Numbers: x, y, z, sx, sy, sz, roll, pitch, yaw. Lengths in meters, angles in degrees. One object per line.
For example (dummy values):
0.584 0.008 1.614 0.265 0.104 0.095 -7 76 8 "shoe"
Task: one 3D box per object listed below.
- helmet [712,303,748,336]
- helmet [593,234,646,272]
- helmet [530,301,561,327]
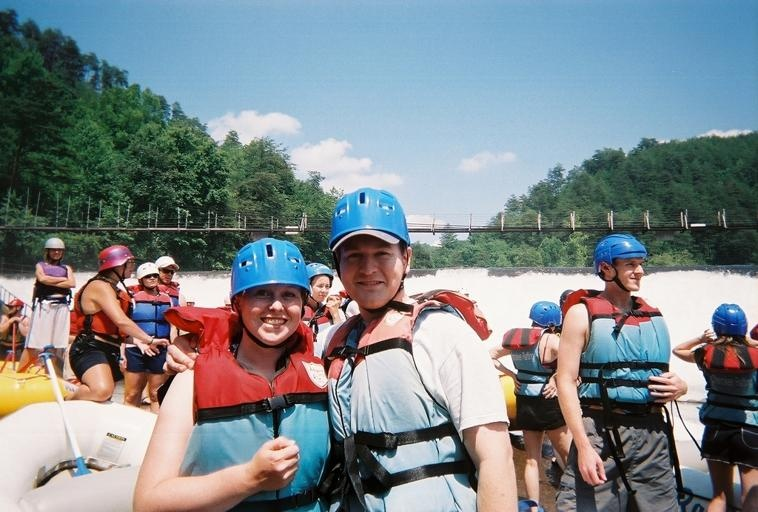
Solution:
5.037 0.878 8.896 0.400 0.459 0.510 3 13 12 "helmet"
3.093 -0.017 7.878 0.476 0.509 0.565 11 -15 -37 "helmet"
3.005 1.046 10.910 0.532 0.437 0.407 10 -3 -5 "helmet"
